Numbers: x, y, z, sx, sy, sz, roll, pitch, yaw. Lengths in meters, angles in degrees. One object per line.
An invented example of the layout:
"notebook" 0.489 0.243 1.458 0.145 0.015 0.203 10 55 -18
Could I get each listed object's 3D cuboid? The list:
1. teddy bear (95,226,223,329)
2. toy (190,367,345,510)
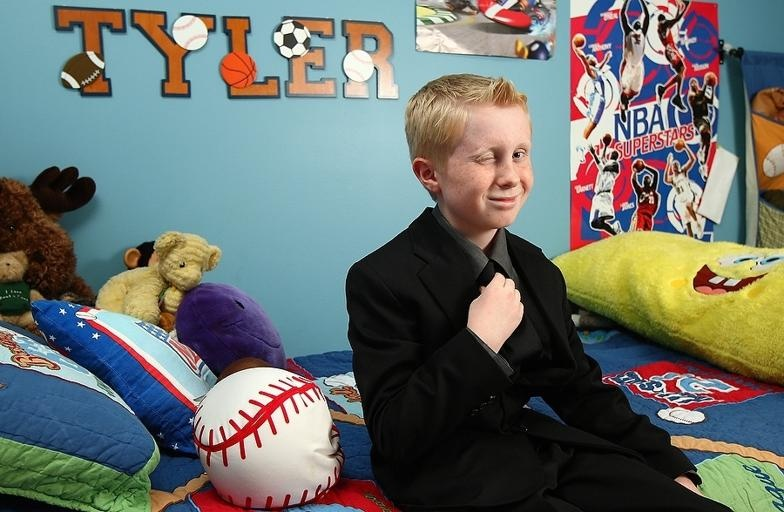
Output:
"teddy bear" -0.915 0.114 2.175 0.442 0.403 0.297 7 -3 20
"toy" -0.314 0.465 1.522 0.346 0.325 0.338 4 29 -6
